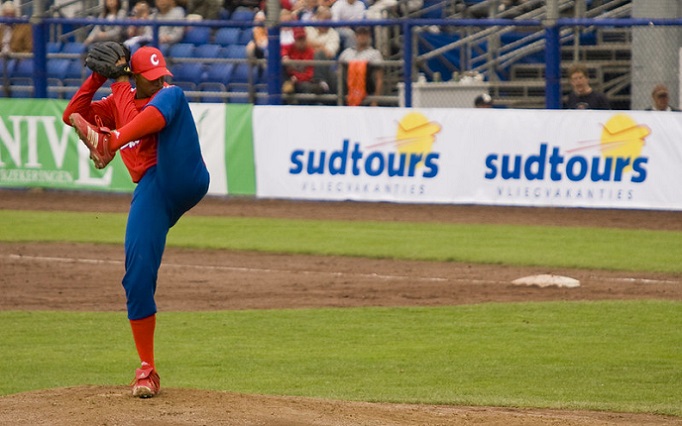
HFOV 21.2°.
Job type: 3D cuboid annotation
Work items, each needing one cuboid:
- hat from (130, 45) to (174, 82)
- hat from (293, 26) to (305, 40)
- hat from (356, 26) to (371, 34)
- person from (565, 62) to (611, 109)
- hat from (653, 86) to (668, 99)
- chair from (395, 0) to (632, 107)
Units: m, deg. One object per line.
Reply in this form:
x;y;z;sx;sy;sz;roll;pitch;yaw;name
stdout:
-2.741;-2.140;26.420;0.570;0.284;0.384;22;31;39;hat
-0.816;-3.488;35.515;0.172;0.193;0.209;-7;18;-7;hat
0.424;-3.510;35.369;0.304;0.178;0.242;0;3;6;hat
4.456;-2.282;33.451;0.823;0.820;0.843;1;3;16;person
5.856;-2.211;33.499;0.267;0.231;0.164;0;3;10;hat
3.508;-3.385;36.664;4.243;2.264;1.366;1;0;-5;chair
